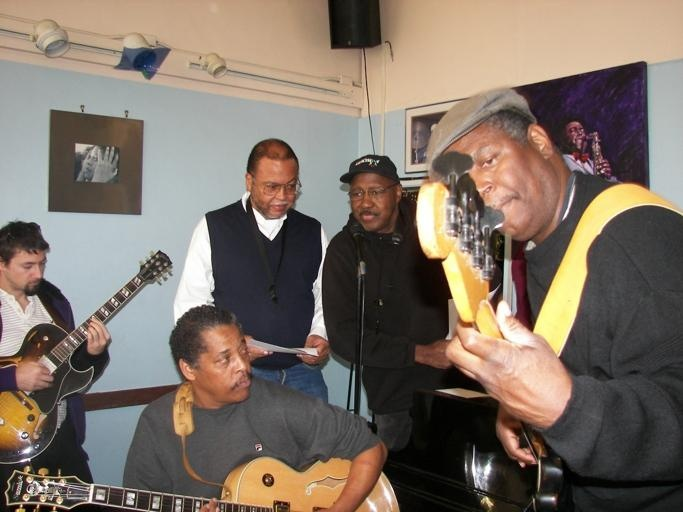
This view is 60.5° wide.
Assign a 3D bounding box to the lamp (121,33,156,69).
[{"bbox_3d":[-1.348,-1.341,3.882,0.257,0.239,0.214,-1,7,-22],"label":"lamp"}]

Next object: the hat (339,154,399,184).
[{"bbox_3d":[0.217,-0.544,3.659,0.275,0.115,0.203,9,-12,-30],"label":"hat"}]

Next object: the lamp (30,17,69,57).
[{"bbox_3d":[-1.780,-1.338,3.596,0.209,0.202,0.218,-2,8,-29],"label":"lamp"}]

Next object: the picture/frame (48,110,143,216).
[{"bbox_3d":[-1.649,-0.621,3.861,0.656,0.787,0.050,-4,9,-38],"label":"picture/frame"}]

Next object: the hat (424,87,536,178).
[{"bbox_3d":[0.406,-0.419,1.788,0.320,0.116,0.261,-35,6,-10],"label":"hat"}]

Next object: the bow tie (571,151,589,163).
[{"bbox_3d":[1.449,-0.607,3.566,0.028,0.071,0.068,-2,-3,-41],"label":"bow tie"}]

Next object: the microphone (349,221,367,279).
[{"bbox_3d":[0.098,-0.047,3.490,0.062,0.263,0.181,-3,-14,-7],"label":"microphone"}]

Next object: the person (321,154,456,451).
[{"bbox_3d":[0.259,0.216,3.331,0.833,1.689,0.424,-6,-3,-3],"label":"person"}]

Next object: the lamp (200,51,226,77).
[{"bbox_3d":[-0.908,-1.369,4.186,0.179,0.157,0.232,0,7,-13],"label":"lamp"}]

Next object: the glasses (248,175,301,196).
[{"bbox_3d":[-0.380,-0.402,3.406,0.240,0.096,0.115,-1,7,-17],"label":"glasses"}]
